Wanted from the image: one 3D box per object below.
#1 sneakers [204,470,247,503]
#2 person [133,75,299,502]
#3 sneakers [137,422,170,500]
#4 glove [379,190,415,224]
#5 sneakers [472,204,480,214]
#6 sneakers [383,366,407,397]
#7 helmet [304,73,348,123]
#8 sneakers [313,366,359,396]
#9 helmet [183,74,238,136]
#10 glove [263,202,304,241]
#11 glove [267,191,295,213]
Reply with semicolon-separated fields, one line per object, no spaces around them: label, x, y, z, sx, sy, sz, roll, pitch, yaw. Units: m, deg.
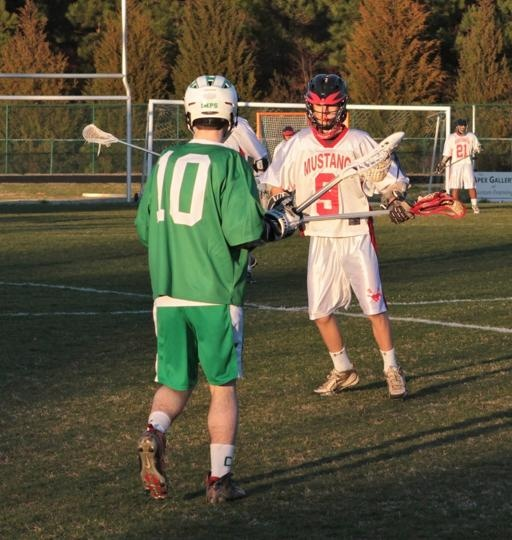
sneakers;-0.124;0.925;4.393;0.076;0.101;0.218;4;5;40
person;-0.237;0.062;4.465;0.798;1.792;0.620;-7;8;-21
sneakers;-0.417;0.808;4.215;0.106;0.311;0.151;-3;8;7
glove;0.802;-0.347;5.851;0.179;0.199;0.312;-3;8;7
sneakers;3.860;-1.044;18.063;0.109;0.146;0.331;0;0;3
sneakers;0.773;0.626;5.730;0.115;0.157;0.184;-3;8;5
helmet;0.400;-0.982;5.952;0.237;0.290;0.235;-3;8;3
sneakers;0.471;0.647;5.942;0.309;0.145;0.105;-20;13;-23
helmet;-0.191;-0.730;4.495;0.189;0.238;0.253;1;16;2
glove;0.109;-0.215;4.678;0.112;0.080;0.199;5;23;19
glove;0.125;-0.336;5.149;0.074;0.095;0.222;-2;-2;-17
